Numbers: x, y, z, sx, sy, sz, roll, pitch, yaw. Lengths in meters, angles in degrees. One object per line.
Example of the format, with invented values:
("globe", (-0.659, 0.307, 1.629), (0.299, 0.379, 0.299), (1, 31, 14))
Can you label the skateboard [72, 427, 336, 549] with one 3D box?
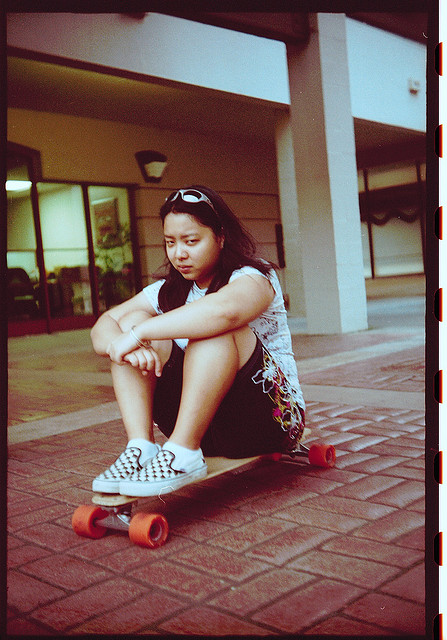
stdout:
("skateboard", (0.001, 0.445, 1.877), (0.327, 0.151, 1.047), (-1, 2, 36))

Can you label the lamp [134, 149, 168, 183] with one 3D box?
("lamp", (-1.233, -2.638, 9.072), (0.453, 0.299, 0.432), (-2, -41, -2))

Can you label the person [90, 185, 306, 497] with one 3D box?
("person", (-0.103, 0.049, 1.789), (0.585, 0.934, 0.788), (-5, -5, 33))

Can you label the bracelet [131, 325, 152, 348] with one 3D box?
("bracelet", (-0.251, 0.056, 1.627), (0.015, 0.066, 0.063), (-42, 8, -6))

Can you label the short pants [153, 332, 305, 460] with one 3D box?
("short pants", (0.003, 0.242, 1.655), (0.246, 0.368, 0.585), (-13, -7, 35))
